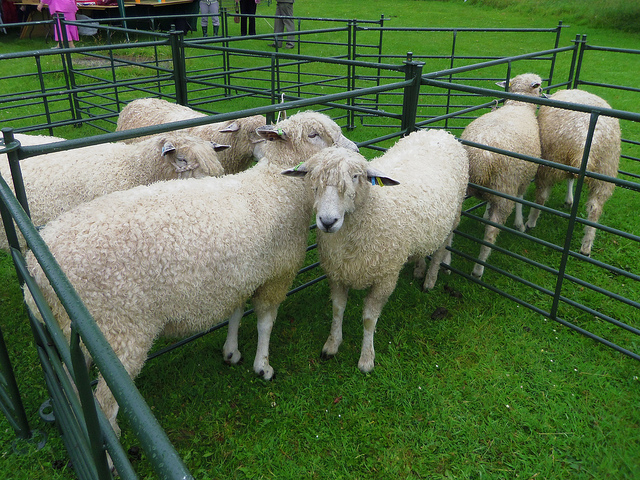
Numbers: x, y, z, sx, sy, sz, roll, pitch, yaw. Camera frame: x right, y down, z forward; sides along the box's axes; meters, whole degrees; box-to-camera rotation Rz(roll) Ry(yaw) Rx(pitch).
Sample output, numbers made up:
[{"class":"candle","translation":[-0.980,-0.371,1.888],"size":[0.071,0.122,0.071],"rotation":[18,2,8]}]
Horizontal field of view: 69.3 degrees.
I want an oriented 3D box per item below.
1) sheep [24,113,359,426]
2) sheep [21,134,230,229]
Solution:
[{"class":"sheep","translation":[-0.851,0.252,3.758],"size":[1.112,2.111,2.670],"rotation":[22,28,41]},{"class":"sheep","translation":[-2.048,-0.383,4.360],"size":[2.394,1.056,0.806],"rotation":[3,-4,17]}]
